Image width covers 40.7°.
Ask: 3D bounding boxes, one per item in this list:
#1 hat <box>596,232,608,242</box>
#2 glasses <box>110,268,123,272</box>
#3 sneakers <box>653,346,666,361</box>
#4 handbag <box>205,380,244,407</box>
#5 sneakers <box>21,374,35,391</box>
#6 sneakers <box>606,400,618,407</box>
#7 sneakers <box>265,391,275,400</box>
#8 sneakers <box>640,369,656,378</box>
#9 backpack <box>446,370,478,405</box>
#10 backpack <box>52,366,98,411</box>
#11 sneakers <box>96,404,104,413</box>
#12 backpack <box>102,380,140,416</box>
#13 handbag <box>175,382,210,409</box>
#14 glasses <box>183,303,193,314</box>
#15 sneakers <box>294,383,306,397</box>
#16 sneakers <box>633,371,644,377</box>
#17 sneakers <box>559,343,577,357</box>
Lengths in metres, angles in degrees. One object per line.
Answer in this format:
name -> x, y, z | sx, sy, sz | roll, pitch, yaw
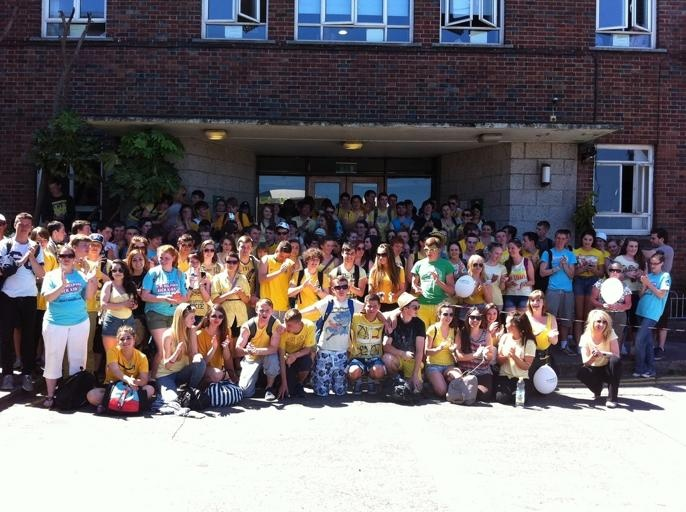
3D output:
hat -> 4.914, -0.383, 17.552 | 0.293, 0.176, 0.437 | 1, -2, 26
glasses -> -3.536, 0.233, 14.378 | 0.183, 0.045, 0.061 | 2, 1, 11
sneakers -> 5.613, 1.731, 16.368 | 0.175, 0.205, 0.498 | -2, -5, 28
handbag -> -1.838, 2.137, 14.258 | 0.574, 0.337, 0.317 | 1, 1, -10
sneakers -> -4.875, 1.948, 14.251 | 0.125, 0.119, 0.265 | -1, 18, -37
sneakers -> 4.227, 2.318, 14.498 | 0.164, 0.110, 0.195 | 2, 1, 16
sneakers -> -1.144, 2.185, 14.487 | 0.158, 0.140, 0.175 | 1, 1, -6
sneakers -> 5.271, 2.030, 15.907 | 0.231, 0.103, 0.104 | 0, -2, -11
backpack -> 1.891, 2.066, 14.466 | 0.441, 0.481, 0.413 | 10, -17, -35
backpack -> -4.063, 2.019, 13.910 | 0.424, 0.343, 0.657 | 8, 46, 30
sneakers -> -3.625, 2.267, 13.734 | 0.063, 0.196, 0.083 | 7, 21, -16
backpack -> -3.276, 2.114, 13.843 | 0.636, 0.687, 0.359 | 2, -5, -9
handbag -> -2.301, 2.159, 14.057 | 0.436, 0.310, 0.184 | 0, 7, 4
glasses -> -2.405, 0.826, 14.262 | 0.120, 0.170, 0.155 | 3, -12, 8
sneakers -> -0.698, 2.140, 14.739 | 0.175, 0.184, 0.269 | 1, 1, -5
sneakers -> 5.091, 2.050, 15.902 | 0.124, 0.063, 0.055 | 1, 0, 27
sneakers -> 4.114, 1.717, 16.750 | 0.125, 0.174, 0.389 | -3, -2, -10
